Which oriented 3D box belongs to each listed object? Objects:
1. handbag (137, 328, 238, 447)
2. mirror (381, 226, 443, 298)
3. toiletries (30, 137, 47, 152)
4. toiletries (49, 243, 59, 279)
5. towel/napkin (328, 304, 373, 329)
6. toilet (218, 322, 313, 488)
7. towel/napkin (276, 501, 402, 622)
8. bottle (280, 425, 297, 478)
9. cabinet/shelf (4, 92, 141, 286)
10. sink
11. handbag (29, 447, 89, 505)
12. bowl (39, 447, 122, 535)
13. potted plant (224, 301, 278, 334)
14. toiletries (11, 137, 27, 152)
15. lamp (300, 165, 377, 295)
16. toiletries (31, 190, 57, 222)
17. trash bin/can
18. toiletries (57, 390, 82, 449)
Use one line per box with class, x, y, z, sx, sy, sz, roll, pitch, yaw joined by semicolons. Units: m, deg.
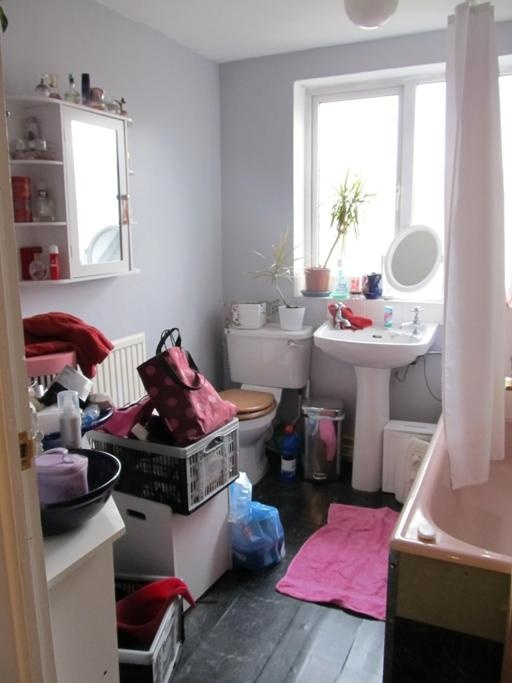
handbag;-0.251;0.155;1.823;0.172;0.411;0.330;-27;-7;22
mirror;0.882;-0.455;2.927;0.313;0.440;0.022;-1;39;0
toiletries;-0.769;-0.691;1.855;0.044;0.042;0.069;-6;-1;34
toiletries;-0.746;-0.287;1.938;0.038;0.127;0.068;-4;9;-21
towel/napkin;0.527;-0.134;2.955;0.185;0.105;0.146;5;25;28
toilet;0.065;0.276;3.025;0.521;0.915;0.795;3;9;20
towel/napkin;0.361;0.889;2.160;0.404;0.019;0.638;3;9;22
bottle;0.188;0.618;2.972;0.096;0.273;0.154;1;8;9
cabinet/shelf;-0.692;-0.568;2.048;0.174;0.656;0.587;4;10;29
sink;0.603;0.035;2.723;0.581;0.197;0.456;2;9;19
handbag;-0.376;0.256;1.017;0.093;0.068;0.122;-6;10;-30
bowl;-0.327;0.280;1.021;0.112;0.047;0.122;0;11;0
potted plant;-0.024;-0.157;3.198;0.201;0.145;0.217;-1;18;9
toiletries;-0.837;-0.689;1.843;0.050;0.055;0.036;4;10;29
lamp;0.494;-0.637;3.155;0.411;0.729;0.237;1;8;11
toiletries;-0.770;-0.489;1.902;0.074;0.114;0.061;-3;9;-15
trash bin/can;0.442;0.533;3.121;0.301;0.583;0.378;0;6;11
toiletries;-0.431;0.177;1.214;0.045;0.138;0.049;0;9;8
